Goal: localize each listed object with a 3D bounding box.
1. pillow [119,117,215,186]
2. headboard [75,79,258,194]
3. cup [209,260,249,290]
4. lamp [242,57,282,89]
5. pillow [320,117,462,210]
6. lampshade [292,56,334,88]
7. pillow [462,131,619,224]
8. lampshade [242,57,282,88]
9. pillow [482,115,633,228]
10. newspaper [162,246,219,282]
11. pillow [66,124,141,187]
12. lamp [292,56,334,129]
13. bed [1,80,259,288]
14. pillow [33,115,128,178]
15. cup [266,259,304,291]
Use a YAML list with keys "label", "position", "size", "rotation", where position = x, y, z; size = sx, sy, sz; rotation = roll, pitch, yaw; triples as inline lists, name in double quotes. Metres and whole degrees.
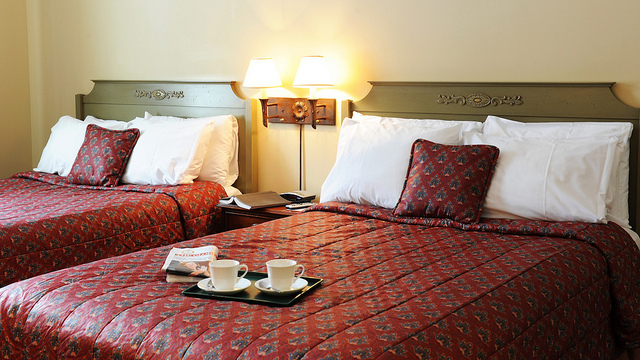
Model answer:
- label: "pillow"
  position: [-1.466, -0.254, 3.948]
  size: [0.651, 0.373, 0.309]
  rotation: [2, 19, 24]
- label: "headboard"
  position: [-1.810, -0.509, 4.667]
  size: [2.156, 1.233, 0.078]
  rotation: [4, 8, 10]
- label: "cup"
  position: [-0.485, 0.503, 2.139]
  size: [0.195, 0.126, 0.146]
  rotation: [3, 1, -5]
- label: "lamp"
  position: [-0.547, -1.032, 4.000]
  size: [0.334, 0.291, 0.317]
  rotation: [-1, 14, 6]
- label: "pillow"
  position: [0.497, -0.121, 3.334]
  size: [0.915, 0.787, 0.248]
  rotation: [8, -15, 35]
- label: "lampshade"
  position: [-0.056, -0.994, 3.770]
  size: [0.322, 0.279, 0.306]
  rotation: [-3, 11, -8]
- label: "pillow"
  position: [1.559, 0.007, 2.857]
  size: [0.701, 0.404, 0.181]
  rotation: [3, -27, 28]
- label: "lampshade"
  position: [-0.559, -1.029, 3.985]
  size: [0.326, 0.283, 0.312]
  rotation: [0, 12, 9]
- label: "pillow"
  position: [1.711, -0.031, 2.888]
  size: [0.915, 0.586, 0.125]
  rotation: [3, -22, 39]
- label: "newspaper"
  position: [-0.735, 0.467, 2.285]
  size: [0.217, 0.066, 0.204]
  rotation: [0, 16, 0]
- label: "pillow"
  position: [-2.024, -0.239, 4.062]
  size: [0.663, 0.593, 0.205]
  rotation: [10, -15, 25]
- label: "lamp"
  position: [-0.060, -0.841, 3.933]
  size: [0.405, 0.646, 0.412]
  rotation: [-9, 12, -42]
- label: "bed"
  position: [-1.881, -0.074, 3.808]
  size: [2.289, 1.376, 2.208]
  rotation: [4, 7, 27]
- label: "pillow"
  position: [-2.590, -0.354, 4.658]
  size: [0.846, 0.725, 0.255]
  rotation: [11, -15, 37]
- label: "cup"
  position: [-0.174, 0.488, 2.099]
  size: [0.200, 0.132, 0.151]
  rotation: [-1, 2, 10]
